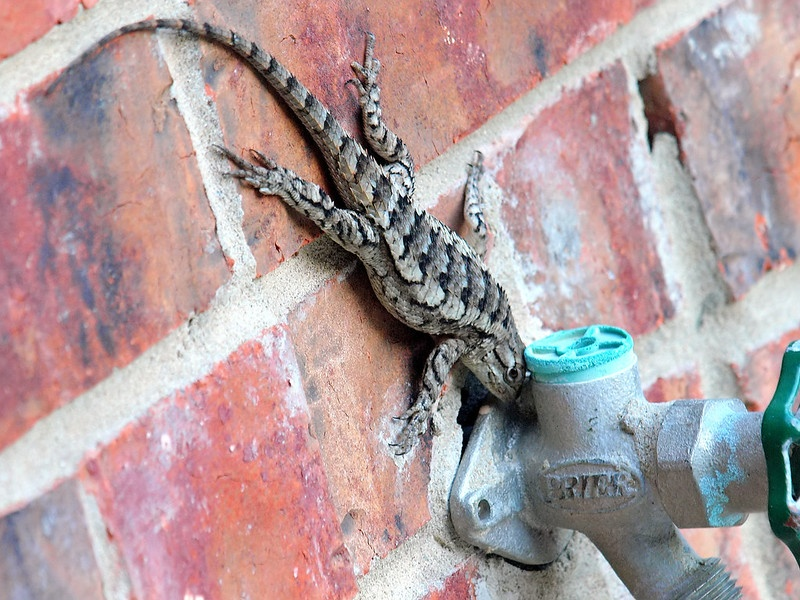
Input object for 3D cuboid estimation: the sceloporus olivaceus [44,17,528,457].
[{"bbox_3d":[-0.063,-0.083,1.345,0.067,0.534,0.390,-12,13,33],"label":"sceloporus olivaceus"}]
